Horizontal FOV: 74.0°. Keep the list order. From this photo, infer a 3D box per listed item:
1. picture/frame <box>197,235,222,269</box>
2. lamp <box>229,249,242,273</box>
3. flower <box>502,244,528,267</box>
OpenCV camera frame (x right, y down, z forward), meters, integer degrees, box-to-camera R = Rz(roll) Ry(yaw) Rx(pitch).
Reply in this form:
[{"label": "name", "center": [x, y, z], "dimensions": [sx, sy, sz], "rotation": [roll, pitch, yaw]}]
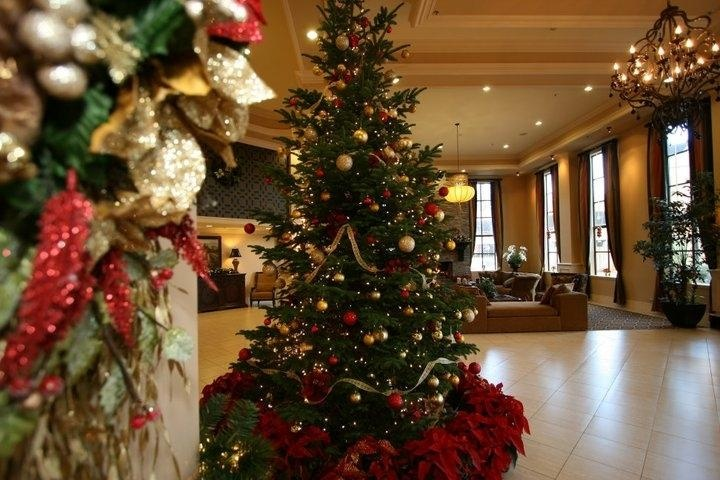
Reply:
[{"label": "picture/frame", "center": [-3.560, 0.276, 11.498], "dimensions": [0.491, 0.802, 0.698], "rotation": [0, 0, -14]}, {"label": "lamp", "center": [-3.067, 0.496, 11.726], "dimensions": [0.271, 0.603, 1.017], "rotation": [0, 0, -14]}, {"label": "flower", "center": [3.874, 0.431, 12.047], "dimensions": [0.681, 0.742, 0.742], "rotation": [-2, 1, 21]}]
